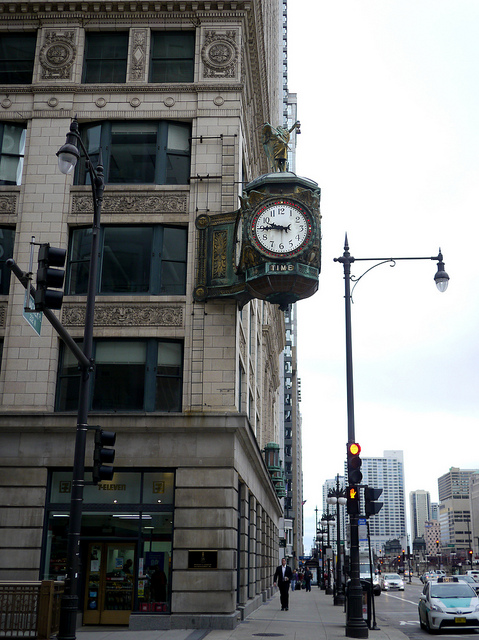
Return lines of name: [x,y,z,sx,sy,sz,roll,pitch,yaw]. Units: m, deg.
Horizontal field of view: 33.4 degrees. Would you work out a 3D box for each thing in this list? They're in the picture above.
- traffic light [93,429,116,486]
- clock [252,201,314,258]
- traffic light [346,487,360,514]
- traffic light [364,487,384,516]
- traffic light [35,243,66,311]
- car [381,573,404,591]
traffic light: [-2.521,2.534,14.818,0.368,1.026,0.669,4,-19,-11]
clock: [1.173,-2.470,22.664,1.418,1.654,0.112,2,-19,-3]
traffic light: [2.818,4.581,20.111,0.313,0.698,0.612,-2,-19,7]
traffic light: [3.436,4.770,20.869,0.433,0.705,1.400,-2,-20,8]
traffic light: [-2.930,-0.692,12.374,0.400,1.133,0.551,6,-19,-16]
car: [11.691,20.554,62.324,1.193,1.189,2.916,-2,-31,1]
